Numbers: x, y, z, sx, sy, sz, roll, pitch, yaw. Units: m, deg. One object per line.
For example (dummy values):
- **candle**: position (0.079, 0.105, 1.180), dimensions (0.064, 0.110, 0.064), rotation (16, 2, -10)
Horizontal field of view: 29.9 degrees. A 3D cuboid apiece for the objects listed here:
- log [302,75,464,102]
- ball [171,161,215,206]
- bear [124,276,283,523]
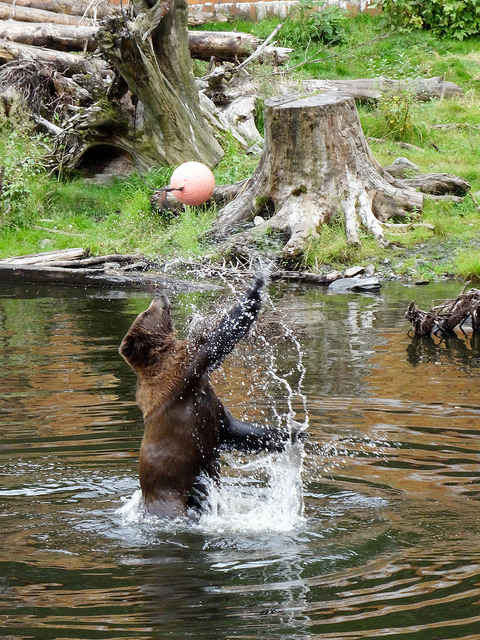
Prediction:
- **log**: position (2.855, -4.568, 17.720), dimensions (3.243, 0.509, 1.881), rotation (0, 11, 4)
- **ball**: position (-0.359, -1.019, 6.787), dimensions (0.319, 0.326, 0.570), rotation (-2, 11, -4)
- **bear**: position (-0.126, 0.391, 4.494), dimensions (0.639, 1.251, 1.029), rotation (3, 13, 19)
